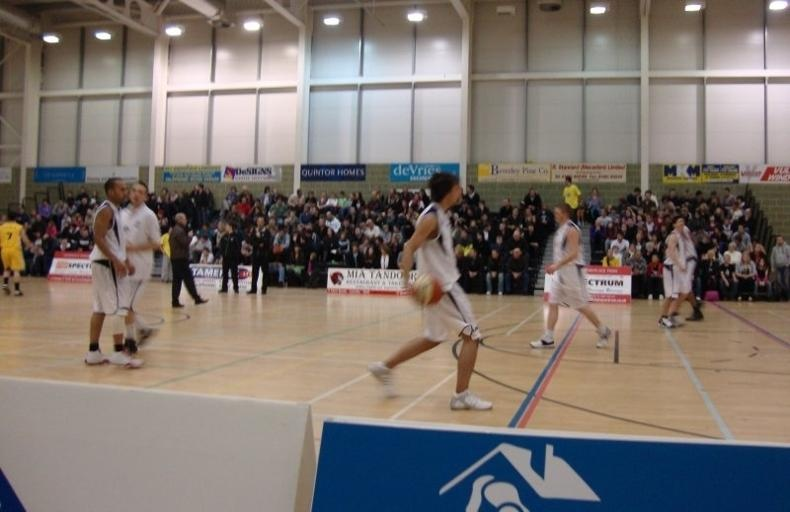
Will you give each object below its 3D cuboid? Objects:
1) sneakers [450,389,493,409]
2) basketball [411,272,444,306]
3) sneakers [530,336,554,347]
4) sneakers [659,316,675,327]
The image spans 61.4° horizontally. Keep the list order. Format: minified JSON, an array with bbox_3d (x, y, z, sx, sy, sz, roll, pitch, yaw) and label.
[{"bbox_3d":[0.890,1.678,7.861,0.497,0.242,0.209,2,-3,-5],"label":"sneakers"},{"bbox_3d":[0.394,0.365,7.867,0.323,0.331,0.348,3,4,16],"label":"basketball"},{"bbox_3d":[2.376,1.368,10.782,0.402,0.198,0.156,5,-5,-6],"label":"sneakers"},{"bbox_3d":[5.223,1.253,12.720,0.149,0.133,0.290,0,-5,-15],"label":"sneakers"}]
